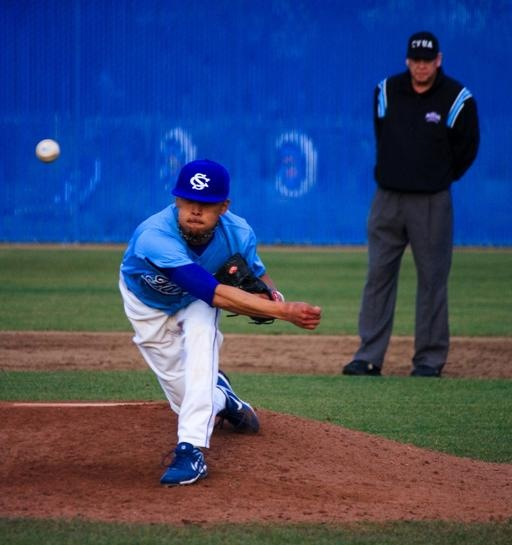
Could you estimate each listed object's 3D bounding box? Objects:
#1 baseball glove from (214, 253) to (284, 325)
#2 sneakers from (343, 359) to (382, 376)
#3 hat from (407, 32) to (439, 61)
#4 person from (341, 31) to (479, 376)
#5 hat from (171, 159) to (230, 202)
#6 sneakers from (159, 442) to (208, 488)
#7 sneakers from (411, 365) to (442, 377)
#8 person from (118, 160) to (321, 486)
[{"bbox_3d":[-0.041,0.125,8.144,0.304,0.491,0.209,-42,-13,-15],"label":"baseball glove"},{"bbox_3d":[0.820,0.753,10.037,0.296,0.134,0.120,8,-5,-8],"label":"sneakers"},{"bbox_3d":[1.244,-1.683,9.662,0.167,0.146,0.252,4,21,11],"label":"hat"},{"bbox_3d":[1.212,-0.497,9.896,0.929,2.609,0.427,2,8,8],"label":"person"},{"bbox_3d":[-0.321,-0.540,7.865,0.229,0.180,0.308,9,14,9],"label":"hat"},{"bbox_3d":[-0.421,1.155,7.805,0.326,0.229,0.182,-2,9,-18],"label":"sneakers"},{"bbox_3d":[1.319,0.775,9.903,0.140,0.058,0.108,5,-7,-36],"label":"sneakers"},{"bbox_3d":[-0.301,0.261,8.083,0.970,1.894,0.886,-2,9,-16],"label":"person"}]
